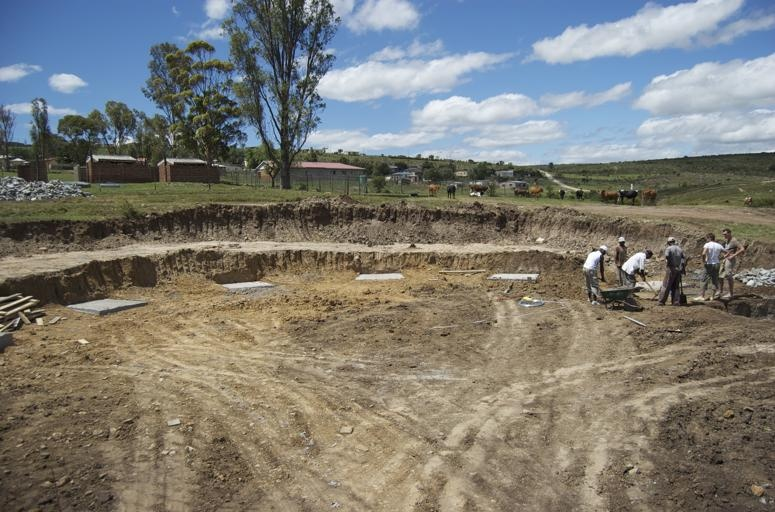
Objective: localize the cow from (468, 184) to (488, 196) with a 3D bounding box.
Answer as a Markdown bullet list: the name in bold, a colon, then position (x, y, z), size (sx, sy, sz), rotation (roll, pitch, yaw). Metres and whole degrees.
- **cow**: position (7.588, -5.570, 39.760), size (1.168, 0.835, 2.310), rotation (1, 8, 6)

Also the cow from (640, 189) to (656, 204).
- **cow**: position (19.006, -4.365, 34.488), size (0.851, 0.980, 2.503), rotation (5, 9, 25)

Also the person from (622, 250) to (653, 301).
- **person**: position (8.839, 0.485, 17.027), size (0.884, 1.303, 1.271), rotation (5, 11, 25)

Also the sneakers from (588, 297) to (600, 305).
- **sneakers**: position (7.593, 1.620, 17.473), size (0.321, 0.206, 0.457), rotation (1, 8, 7)
